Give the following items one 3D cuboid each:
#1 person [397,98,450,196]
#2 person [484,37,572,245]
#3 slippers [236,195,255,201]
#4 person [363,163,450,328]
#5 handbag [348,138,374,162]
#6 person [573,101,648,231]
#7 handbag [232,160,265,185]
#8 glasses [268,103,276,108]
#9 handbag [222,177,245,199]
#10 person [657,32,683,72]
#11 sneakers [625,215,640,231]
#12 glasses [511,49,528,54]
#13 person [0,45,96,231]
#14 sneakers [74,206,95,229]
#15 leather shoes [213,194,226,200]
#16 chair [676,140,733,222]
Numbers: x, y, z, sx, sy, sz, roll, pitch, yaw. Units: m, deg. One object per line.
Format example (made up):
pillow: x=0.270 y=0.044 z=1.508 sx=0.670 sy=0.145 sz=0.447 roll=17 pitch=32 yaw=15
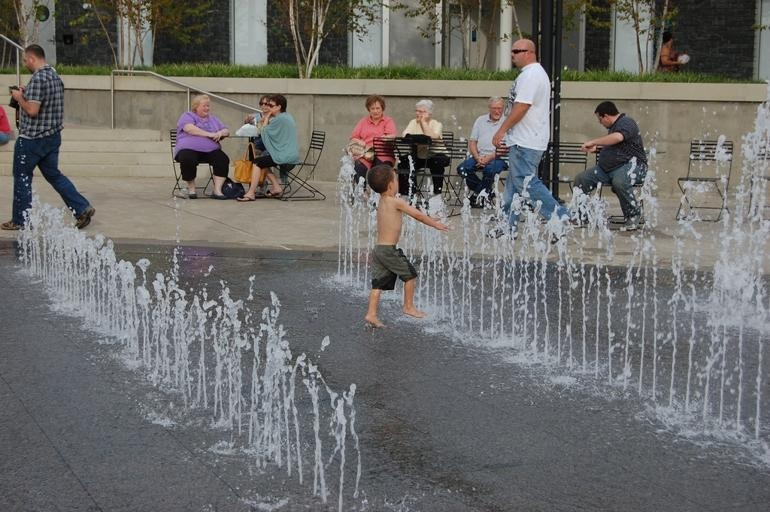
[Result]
person: x=0.609 y=-1.598 z=16.702 sx=0.743 sy=1.437 sz=0.730 roll=7 pitch=14 yaw=33
person: x=1.718 y=-1.357 z=13.278 sx=0.829 sy=2.434 sz=0.918 roll=2 pitch=11 yaw=6
slippers: x=-2.113 y=-0.878 z=16.678 sx=0.090 sy=0.063 sz=0.222 roll=0 pitch=3 yaw=44
person: x=0.120 y=-0.116 z=10.544 sx=0.598 sy=1.439 sz=0.569 roll=1 pitch=11 yaw=-1
handbag: x=-0.389 y=-1.597 z=16.644 sx=0.296 sy=0.145 sz=0.308 roll=7 pitch=1 yaw=23
person: x=3.049 y=-1.195 z=14.694 sx=0.876 sy=1.678 sz=1.158 roll=4 pitch=11 yaw=13
handbag: x=-2.140 y=-1.279 z=17.062 sx=0.283 sy=0.493 sz=0.466 roll=1 pitch=-1 yaw=5
glasses: x=-1.764 y=-2.312 z=16.948 sx=0.070 sy=0.081 sz=0.028 roll=-2 pitch=-8 yaw=16
handbag: x=-2.365 y=-1.043 z=16.995 sx=0.368 sy=0.401 sz=0.238 roll=-1 pitch=-2 yaw=-28
person: x=5.532 y=-3.958 z=21.404 sx=0.348 sy=0.762 sz=1.285 roll=3 pitch=12 yaw=12
sneakers: x=3.388 y=-0.431 z=15.073 sx=0.129 sy=0.192 sz=0.459 roll=-4 pitch=-9 yaw=3
glasses: x=1.603 y=-2.437 z=13.204 sx=0.216 sy=0.051 sz=0.094 roll=8 pitch=14 yaw=30
person: x=-4.160 y=-1.286 z=13.408 sx=0.943 sy=1.976 sz=0.412 roll=-3 pitch=11 yaw=-21
sneakers: x=-3.720 y=-0.465 z=13.624 sx=0.170 sy=0.146 sz=0.381 roll=7 pitch=-26 yaw=-25
leather shoes: x=-2.527 y=-0.906 z=16.807 sx=0.198 sy=0.086 sz=0.076 roll=-1 pitch=3 yaw=24
chair: x=4.932 y=-1.151 z=16.947 sx=0.770 sy=1.233 sz=0.896 roll=2 pitch=3 yaw=-8
